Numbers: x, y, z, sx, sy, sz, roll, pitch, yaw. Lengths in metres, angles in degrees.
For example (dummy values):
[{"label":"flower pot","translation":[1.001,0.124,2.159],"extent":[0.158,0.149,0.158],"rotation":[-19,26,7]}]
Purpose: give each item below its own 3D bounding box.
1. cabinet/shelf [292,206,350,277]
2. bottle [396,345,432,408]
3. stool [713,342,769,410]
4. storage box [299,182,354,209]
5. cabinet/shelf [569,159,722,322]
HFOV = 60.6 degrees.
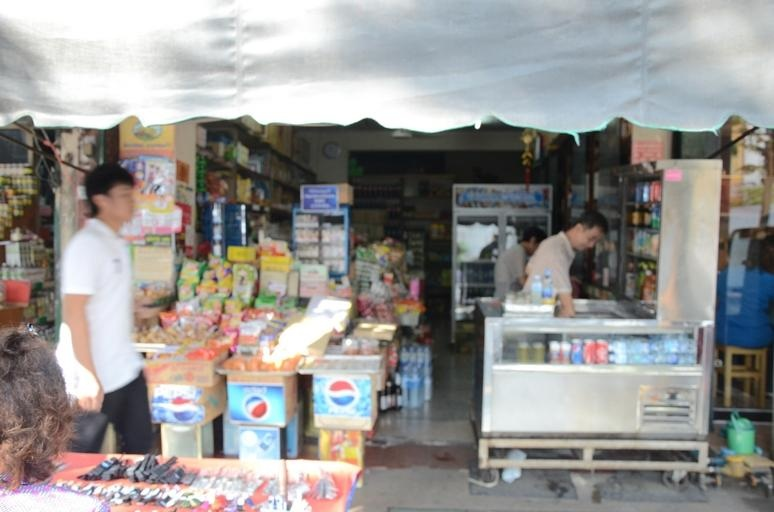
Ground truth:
[{"label":"cabinet/shelf","translation":[-0.719,-0.142,7.078],"extent":[0.585,0.734,0.248],"rotation":[0,9,2]},{"label":"bottle","translation":[0.291,1.229,6.858],"extent":[0.340,0.547,0.422],"rotation":[0,9,1]},{"label":"stool","translation":[3.439,1.125,6.348],"extent":[0.596,0.686,0.481],"rotation":[1,-3,7]},{"label":"storage box","translation":[-0.655,-0.619,7.059],"extent":[0.554,0.284,0.242],"rotation":[-2,9,-12]},{"label":"cabinet/shelf","translation":[2.339,-0.152,5.918],"extent":[0.617,1.422,1.968],"rotation":[1,9,7]}]
